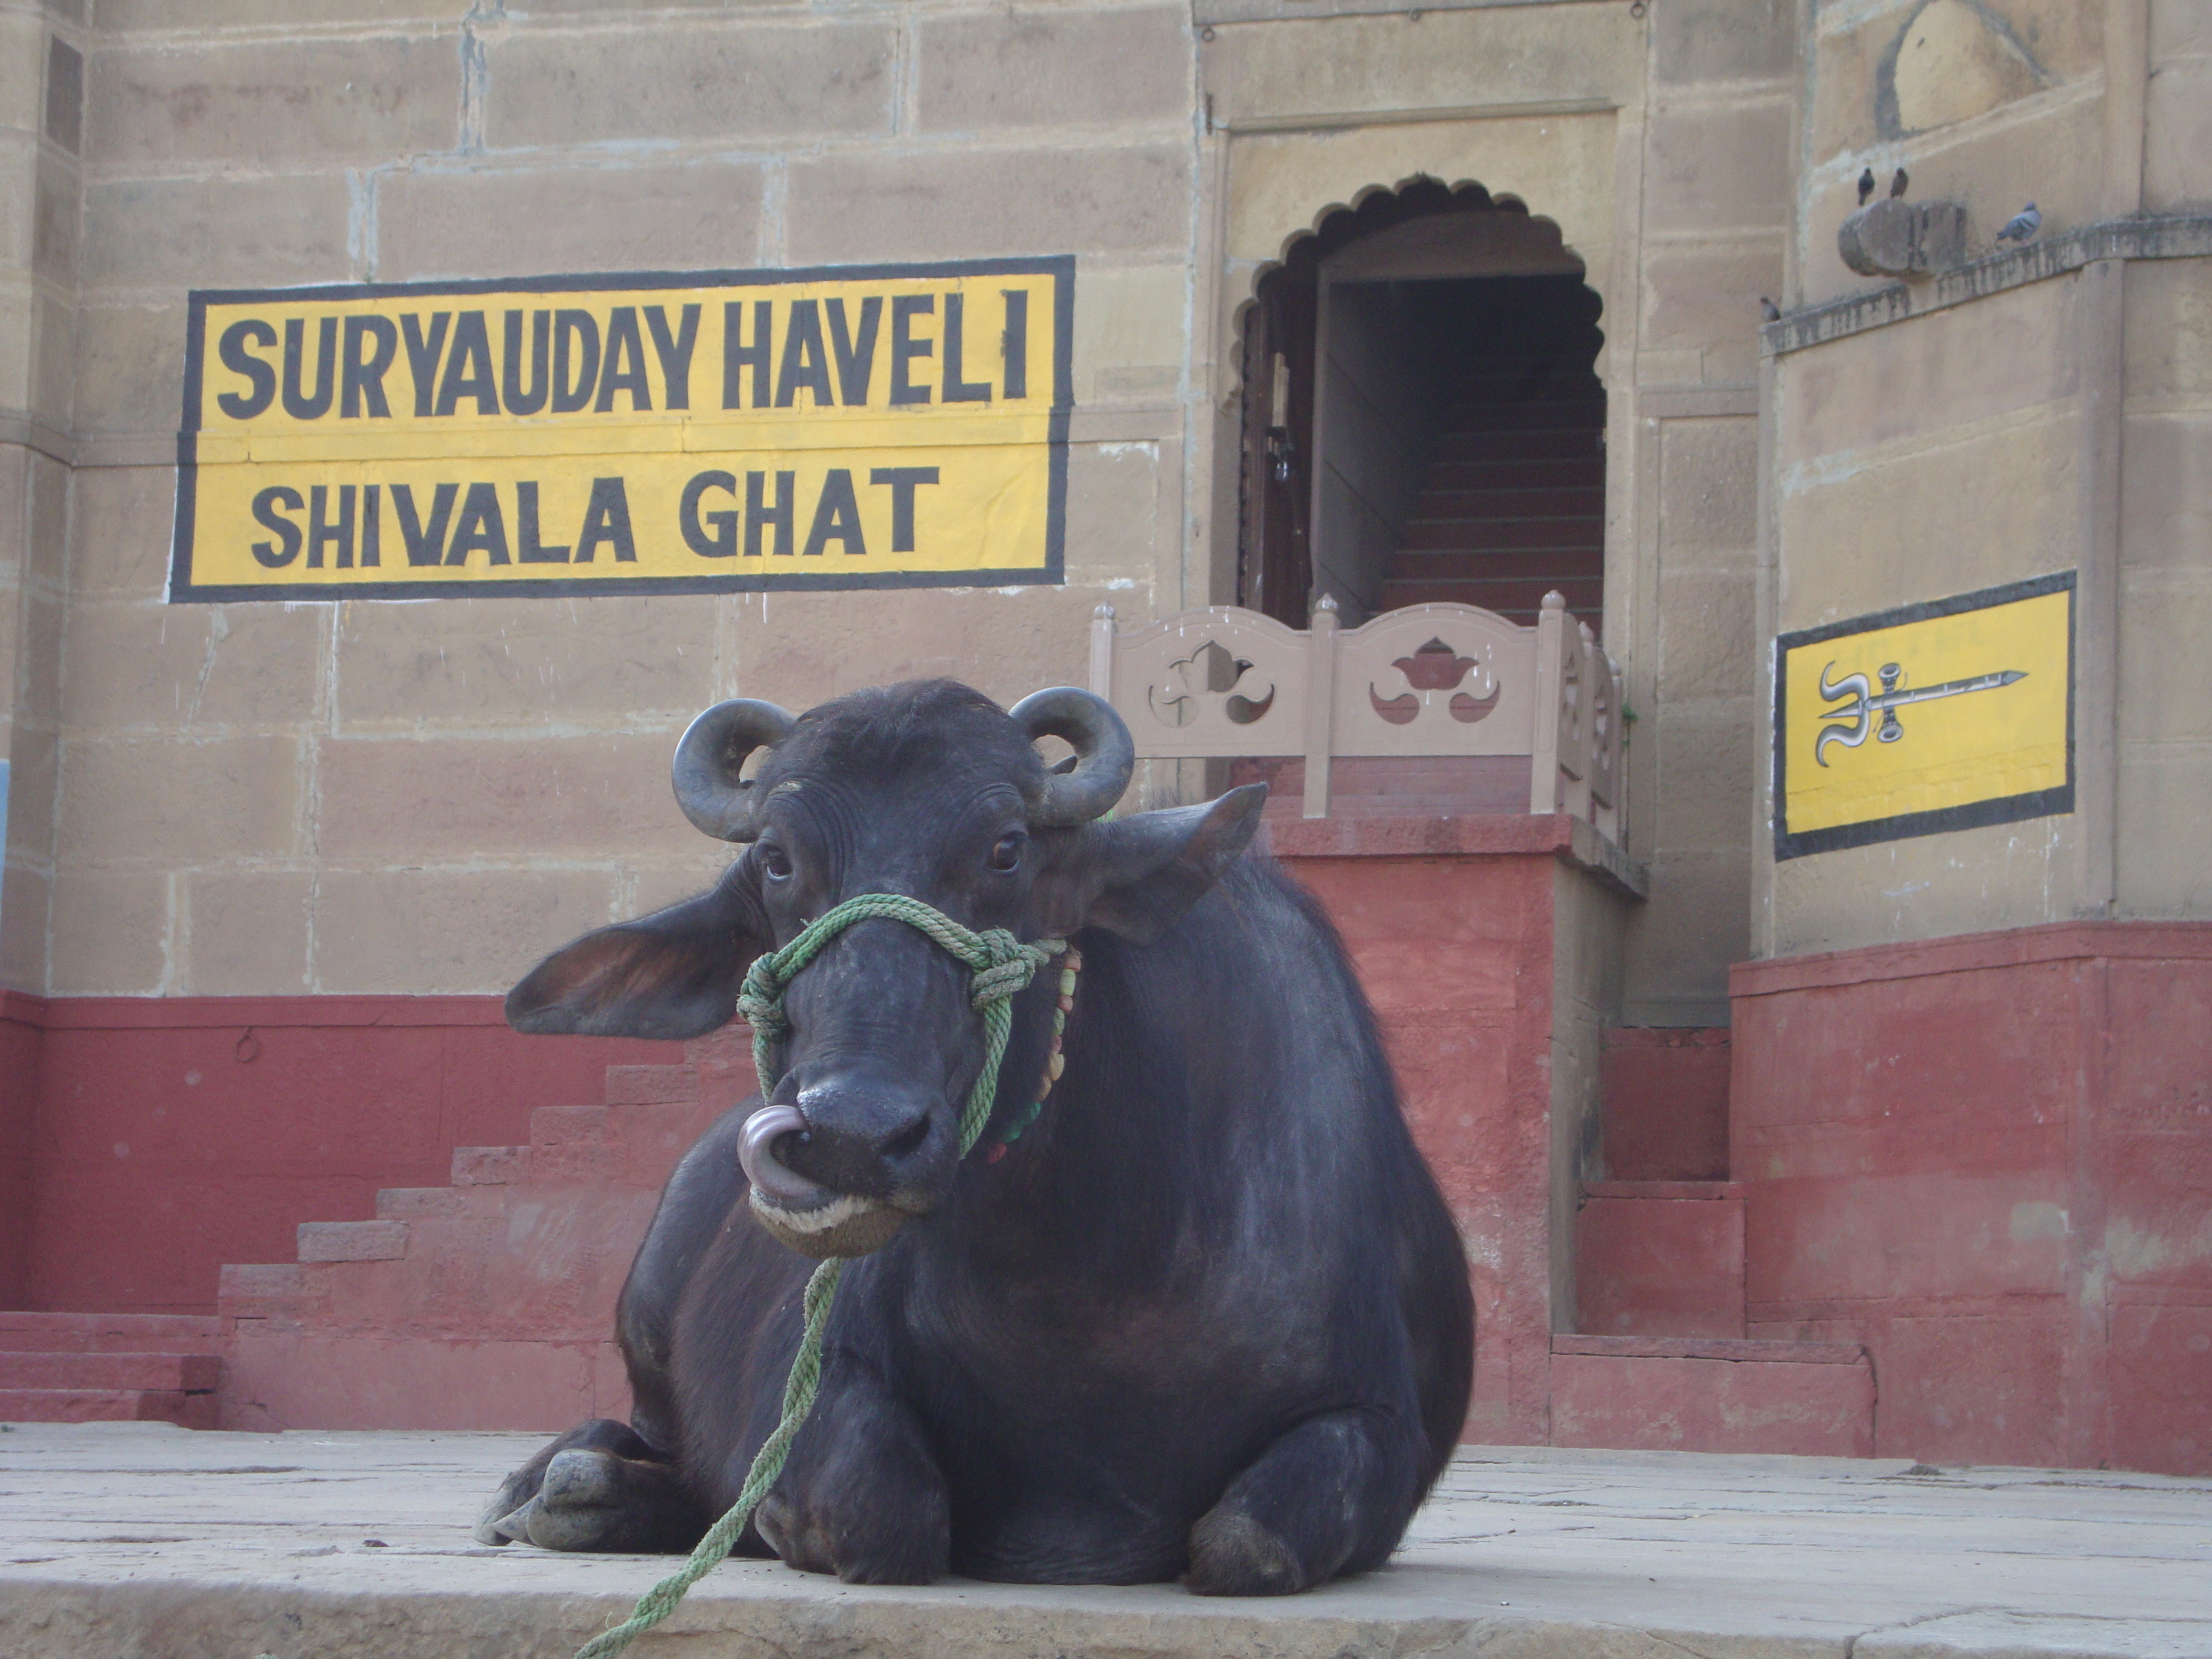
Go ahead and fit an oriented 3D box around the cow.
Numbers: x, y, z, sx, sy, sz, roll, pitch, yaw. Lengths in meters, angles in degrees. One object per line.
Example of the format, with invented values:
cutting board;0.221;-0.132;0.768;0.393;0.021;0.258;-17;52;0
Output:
cow;-0.322;0.887;10.573;1.870;1.903;2.618;-5;-8;26
